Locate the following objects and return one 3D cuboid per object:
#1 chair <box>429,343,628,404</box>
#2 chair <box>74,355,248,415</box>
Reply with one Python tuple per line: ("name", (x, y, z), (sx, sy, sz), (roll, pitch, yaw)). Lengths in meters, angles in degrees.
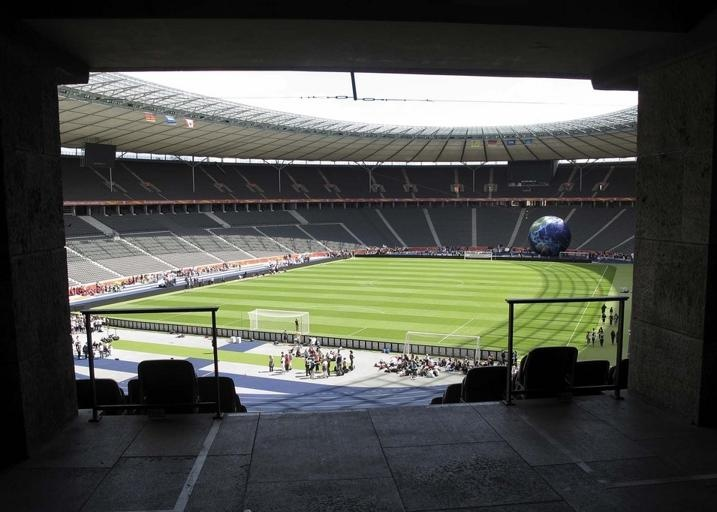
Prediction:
("chair", (2.404, 1.479, 7.082), (2.173, 0.725, 1.172), (-2, -3, 2))
("chair", (-2.538, 1.619, 6.791), (2.183, 0.808, 1.231), (-2, -3, 9))
